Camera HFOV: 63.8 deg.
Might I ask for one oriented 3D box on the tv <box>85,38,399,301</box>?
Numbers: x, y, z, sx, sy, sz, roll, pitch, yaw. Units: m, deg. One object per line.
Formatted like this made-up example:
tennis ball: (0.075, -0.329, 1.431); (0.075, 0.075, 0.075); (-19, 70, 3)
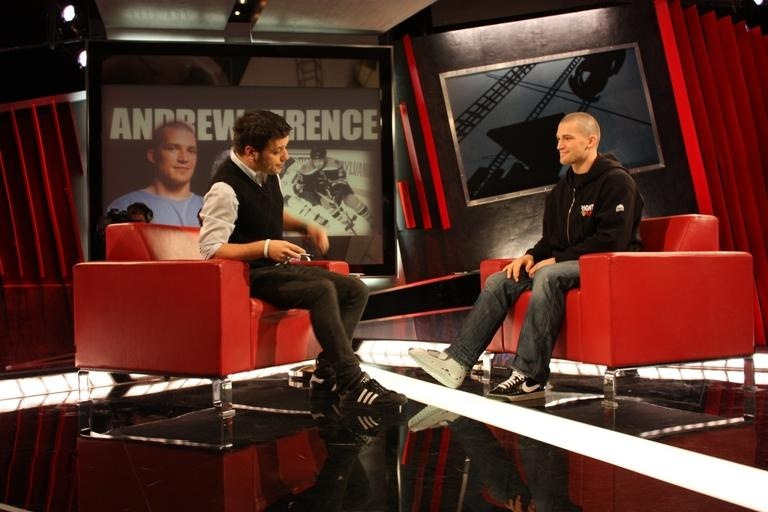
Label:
tv: (-1.187, -0.742, 4.798); (2.623, 1.754, 0.088); (0, -1, -2)

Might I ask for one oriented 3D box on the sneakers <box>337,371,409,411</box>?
sneakers: (-0.079, 0.790, 3.620); (0.426, 0.186, 0.163); (-1, -1, -4)

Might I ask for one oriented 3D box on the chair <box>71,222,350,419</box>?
chair: (-0.976, 0.337, 4.116); (1.251, 1.023, 1.651); (-1, -2, 23)

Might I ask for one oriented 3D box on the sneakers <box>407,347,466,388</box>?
sneakers: (0.341, 0.708, 3.898); (0.359, 0.278, 0.160); (0, 8, 3)

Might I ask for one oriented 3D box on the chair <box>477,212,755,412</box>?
chair: (1.486, 0.280, 4.163); (1.517, 0.942, 1.505); (-3, -1, -5)
